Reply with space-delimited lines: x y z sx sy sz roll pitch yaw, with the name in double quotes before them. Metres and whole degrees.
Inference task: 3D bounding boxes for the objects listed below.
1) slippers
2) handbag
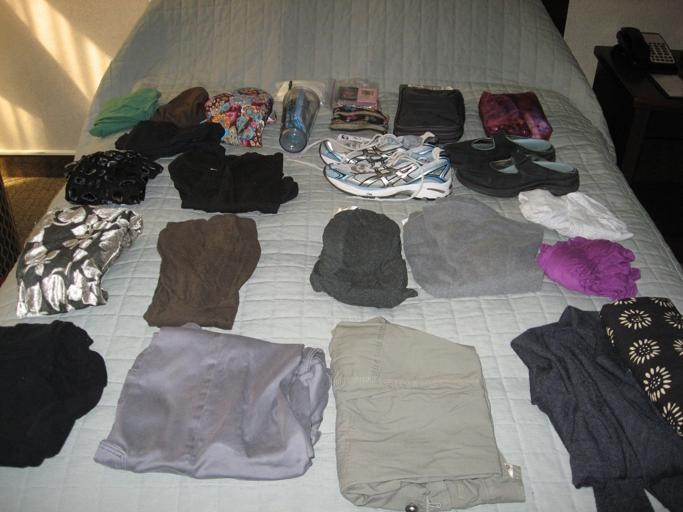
"slippers" 0.674 -0.364 2.184 0.386 0.122 0.295 -2 38 -2
"handbag" 0.382 -0.631 2.419 0.295 0.100 0.282 0 49 1
